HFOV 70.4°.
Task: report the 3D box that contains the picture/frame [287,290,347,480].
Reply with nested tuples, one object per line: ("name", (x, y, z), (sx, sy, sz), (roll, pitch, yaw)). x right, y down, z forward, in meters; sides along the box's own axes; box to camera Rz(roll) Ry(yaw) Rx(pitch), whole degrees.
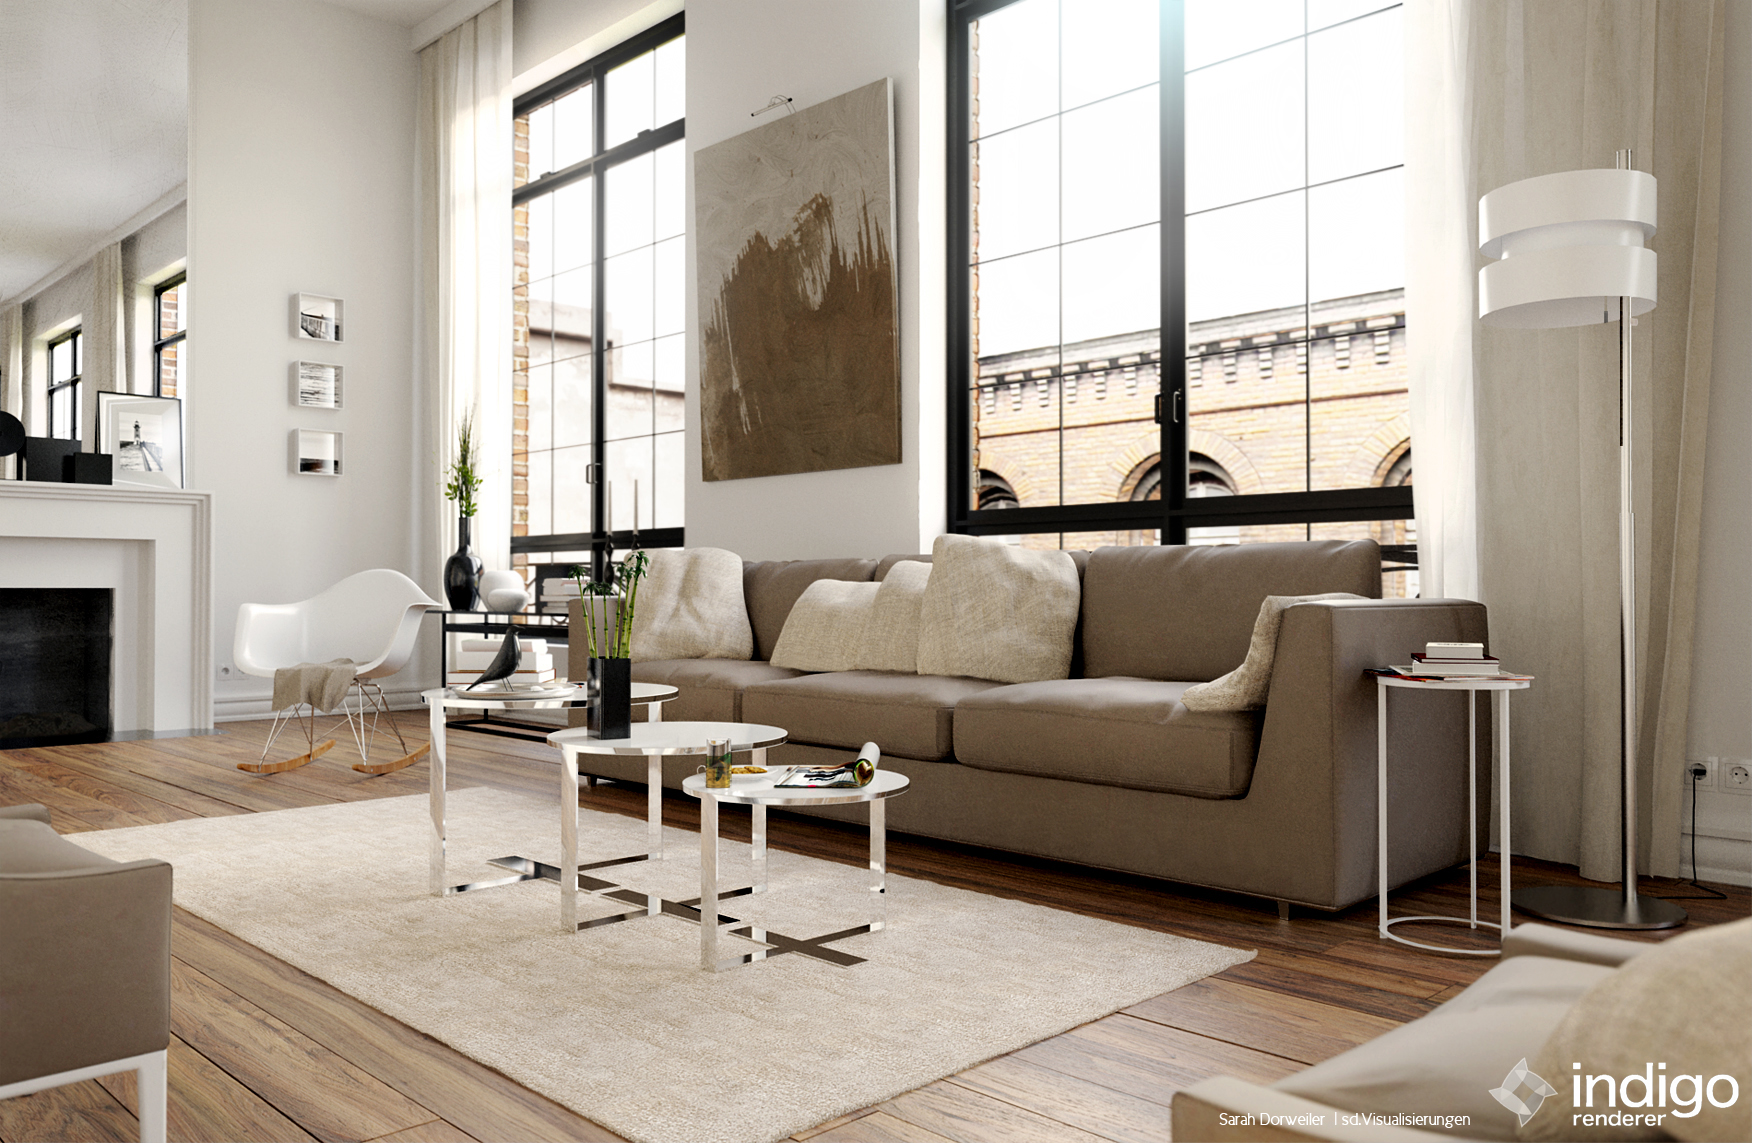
("picture/frame", (-3.737, -1.242, 8.356), (0.373, 1.211, 0.095), (-1, 1, -43))

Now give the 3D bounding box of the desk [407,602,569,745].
("desk", (-2.134, 0.556, 7.541), (0.985, 0.490, 0.279), (8, -4, 20))

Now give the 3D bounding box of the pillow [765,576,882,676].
("pillow", (-0.218, 0.217, 5.438), (0.432, 0.395, 0.132), (0, -26, 47))

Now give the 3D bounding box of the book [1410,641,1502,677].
("book", (1.741, 0.267, 3.743), (0.237, 0.099, 0.179), (0, 0, 22))

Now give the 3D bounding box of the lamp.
("lamp", (2.274, -0.082, 3.968), (0.542, 2.327, 0.759), (1, 1, 42))

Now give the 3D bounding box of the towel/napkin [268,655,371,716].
("towel/napkin", (-2.844, 0.579, 6.309), (0.379, 0.216, 0.303), (1, -3, -17))

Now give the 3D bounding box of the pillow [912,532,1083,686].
("pillow", (0.485, 0.174, 4.937), (0.513, 0.489, 0.268), (4, -26, 16))

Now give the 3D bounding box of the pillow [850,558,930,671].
("pillow", (0.104, 0.197, 5.246), (0.123, 0.384, 0.397), (23, -20, -34))
